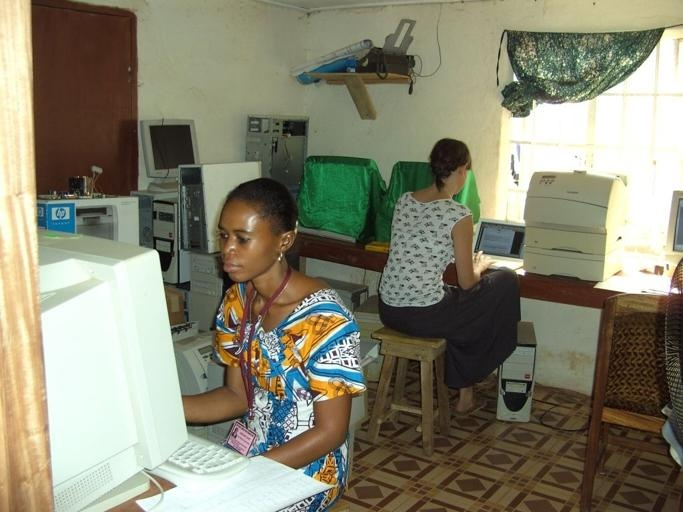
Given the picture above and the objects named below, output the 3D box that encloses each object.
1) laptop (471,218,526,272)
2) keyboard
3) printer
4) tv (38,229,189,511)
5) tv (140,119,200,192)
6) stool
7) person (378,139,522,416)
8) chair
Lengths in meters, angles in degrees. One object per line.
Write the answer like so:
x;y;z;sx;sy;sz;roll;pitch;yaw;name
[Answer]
1.058;-0.080;3.756;0.357;0.279;0.319;8;13;29;laptop
-0.315;0.432;1.254;0.172;0.024;0.100;16;16;42;keyboard
1.406;-0.204;3.580;0.623;0.878;0.637;6;8;40;printer
-0.442;0.238;1.111;0.255;0.489;0.141;-5;12;-30;tv
-1.241;-0.725;4.033;0.289;0.530;0.476;16;20;34;tv
0.431;0.727;3.348;0.459;0.642;0.713;4;11;12;stool
0.656;0.192;3.408;0.909;1.680;0.611;-10;15;-30;person
1.187;0.664;2.322;0.272;1.059;0.178;7;12;28;chair
